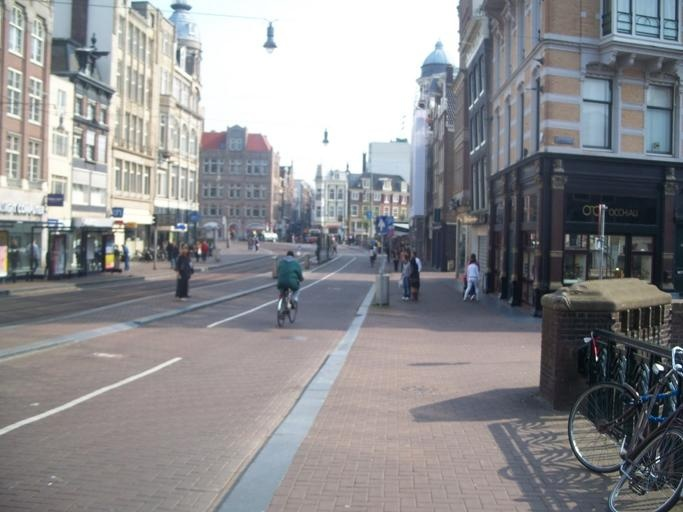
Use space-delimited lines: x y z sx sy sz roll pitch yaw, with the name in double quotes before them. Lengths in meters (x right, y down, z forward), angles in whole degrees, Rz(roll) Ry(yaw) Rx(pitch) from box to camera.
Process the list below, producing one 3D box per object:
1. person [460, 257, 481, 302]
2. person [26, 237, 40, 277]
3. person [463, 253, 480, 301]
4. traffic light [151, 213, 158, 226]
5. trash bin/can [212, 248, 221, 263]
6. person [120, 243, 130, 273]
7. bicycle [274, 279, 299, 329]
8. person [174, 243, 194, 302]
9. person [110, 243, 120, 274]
"person" 4.569 0.873 26.908 0.462 1.713 0.511 -4 -24 18
"person" -12.879 0.049 32.355 0.207 1.466 0.775 0 2 -4
"person" 4.540 0.773 27.141 0.504 1.632 1.359 0 1 7
"traffic light" -10.604 -2.022 43.736 0.165 0.510 1.149 -1 1 -18
"trash bin/can" -9.272 0.016 56.921 0.898 1.141 1.360 3 -3 -8
"person" -11.305 0.125 40.367 0.338 1.390 1.701 -1 1 -17
"bicycle" -1.419 1.355 20.010 0.436 0.669 1.007 -1 -2 8
"person" -5.245 0.538 25.639 0.517 1.777 1.965 -1 1 -12
"person" -11.539 0.111 39.399 0.328 1.419 1.700 -1 1 -13
